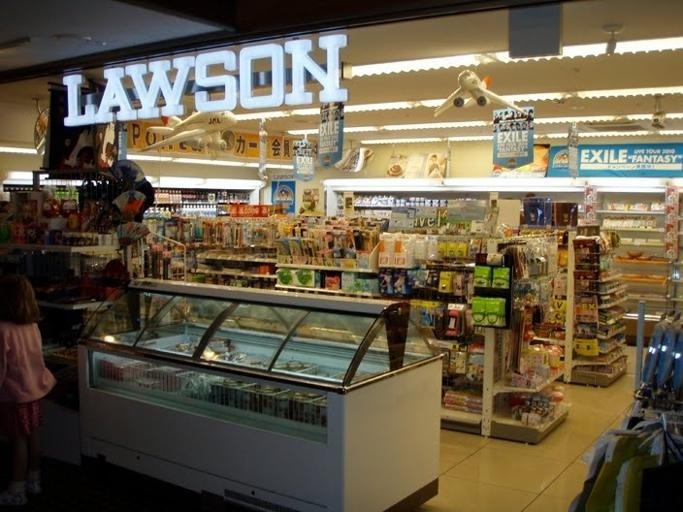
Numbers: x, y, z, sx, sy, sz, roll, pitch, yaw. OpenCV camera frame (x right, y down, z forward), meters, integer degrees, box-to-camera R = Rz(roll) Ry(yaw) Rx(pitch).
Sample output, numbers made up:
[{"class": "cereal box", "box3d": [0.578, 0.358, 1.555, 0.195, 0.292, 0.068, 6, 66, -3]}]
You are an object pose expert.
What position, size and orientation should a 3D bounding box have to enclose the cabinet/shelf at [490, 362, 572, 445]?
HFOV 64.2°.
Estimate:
[{"class": "cabinet/shelf", "box3d": [2.124, 1.455, 6.216, 0.576, 0.659, 1.332, 0, 2, 31]}]
